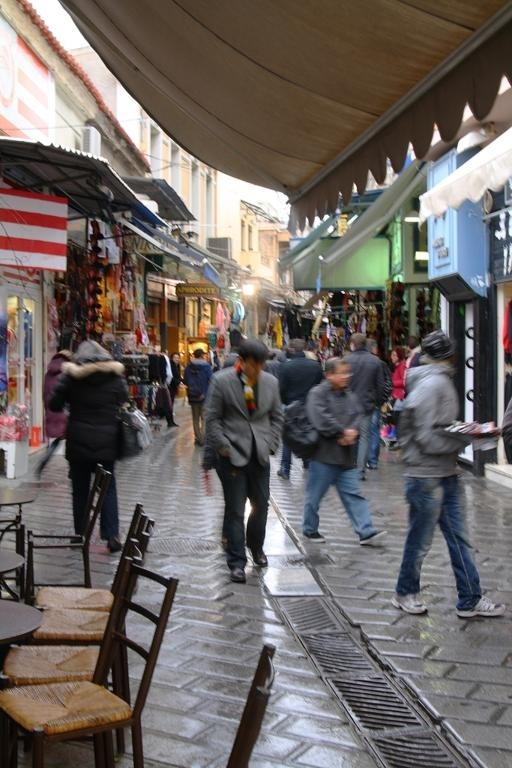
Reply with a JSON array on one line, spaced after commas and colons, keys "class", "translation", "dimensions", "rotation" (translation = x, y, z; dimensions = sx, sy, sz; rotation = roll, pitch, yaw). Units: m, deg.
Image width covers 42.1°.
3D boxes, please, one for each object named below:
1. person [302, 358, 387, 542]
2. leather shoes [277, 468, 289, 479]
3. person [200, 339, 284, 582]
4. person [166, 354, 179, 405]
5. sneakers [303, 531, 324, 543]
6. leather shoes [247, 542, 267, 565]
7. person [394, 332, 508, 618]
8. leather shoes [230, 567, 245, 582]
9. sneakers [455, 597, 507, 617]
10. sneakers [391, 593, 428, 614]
[{"class": "person", "translation": [0.780, 0.644, 6.320], "dimensions": [0.687, 1.768, 0.391], "rotation": [-1, 3, 4]}, {"class": "leather shoes", "translation": [0.422, 1.385, 10.389], "dimensions": [0.131, 0.253, 0.178], "rotation": [1, -2, 16]}, {"class": "person", "translation": [-0.097, 0.697, 5.440], "dimensions": [0.413, 1.745, 0.629], "rotation": [1, 4, 35]}, {"class": "person", "translation": [-2.594, -0.180, 21.381], "dimensions": [0.370, 1.575, 1.920], "rotation": [-1, 3, -7]}, {"class": "sneakers", "translation": [0.565, 1.472, 6.481], "dimensions": [0.177, 0.081, 0.094], "rotation": [-4, -4, 41]}, {"class": "leather shoes", "translation": [0.017, 1.480, 5.778], "dimensions": [0.088, 0.109, 0.249], "rotation": [-1, 0, -10]}, {"class": "person", "translation": [1.235, 0.591, 4.456], "dimensions": [0.606, 1.888, 0.442], "rotation": [-1, 3, -4]}, {"class": "leather shoes", "translation": [-0.144, 1.495, 5.233], "dimensions": [0.118, 0.098, 0.133], "rotation": [-1, 3, -3]}, {"class": "sneakers", "translation": [1.494, 1.482, 4.466], "dimensions": [0.347, 0.181, 0.123], "rotation": [-3, 0, 3]}, {"class": "sneakers", "translation": [1.038, 1.482, 4.563], "dimensions": [0.093, 0.128, 0.244], "rotation": [2, -1, -39]}]
